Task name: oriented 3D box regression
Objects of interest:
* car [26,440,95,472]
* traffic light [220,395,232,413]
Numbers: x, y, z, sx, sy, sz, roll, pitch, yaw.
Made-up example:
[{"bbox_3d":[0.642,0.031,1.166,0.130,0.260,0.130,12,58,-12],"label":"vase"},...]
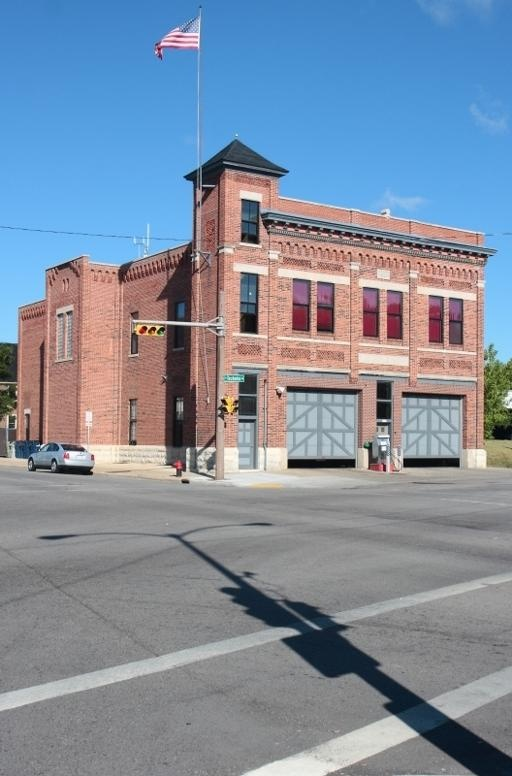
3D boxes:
[{"bbox_3d":[-7.647,2.760,32.812,1.301,0.957,2.876,5,-1,-37],"label":"car"},{"bbox_3d":[-1.016,0.557,27.851,0.584,0.614,0.200,0,-3,-12],"label":"traffic light"}]
